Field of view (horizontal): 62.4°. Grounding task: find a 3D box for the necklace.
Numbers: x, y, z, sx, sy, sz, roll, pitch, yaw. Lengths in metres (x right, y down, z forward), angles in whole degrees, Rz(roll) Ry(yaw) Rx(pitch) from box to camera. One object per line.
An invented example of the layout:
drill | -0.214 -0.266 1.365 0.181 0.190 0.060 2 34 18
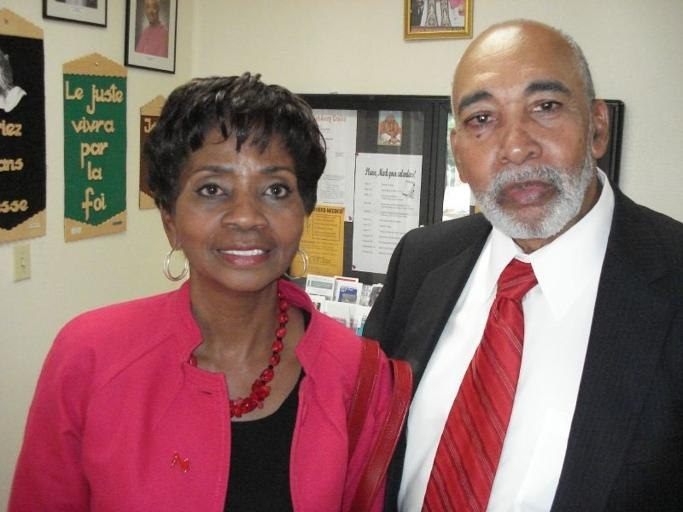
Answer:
necklace | -0.197 0.250 1.384 0.163 0.269 0.058 3 -23 1
